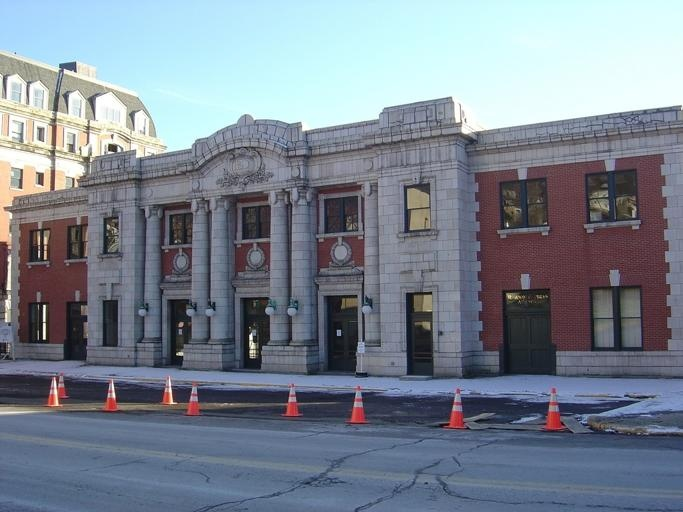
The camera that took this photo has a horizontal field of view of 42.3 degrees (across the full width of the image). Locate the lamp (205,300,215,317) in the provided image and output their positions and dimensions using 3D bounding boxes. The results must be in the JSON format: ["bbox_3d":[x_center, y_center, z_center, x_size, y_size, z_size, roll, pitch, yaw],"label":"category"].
[{"bbox_3d":[-5.906,2.392,39.879,0.458,0.774,1.032,-1,-6,-9],"label":"lamp"}]

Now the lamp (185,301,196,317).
[{"bbox_3d":[-6.915,2.417,40.795,0.460,0.795,1.702,-1,-6,-11],"label":"lamp"}]

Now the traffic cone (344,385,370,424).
[{"bbox_3d":[0.540,3.994,23.671,0.986,0.913,0.894,-3,-3,8],"label":"traffic cone"}]

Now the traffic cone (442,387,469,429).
[{"bbox_3d":[3.009,3.933,22.748,0.943,0.926,0.875,2,-3,-4],"label":"traffic cone"}]

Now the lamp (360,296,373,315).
[{"bbox_3d":[1.020,2.013,36.146,0.457,0.753,0.800,1,-7,-23],"label":"lamp"}]

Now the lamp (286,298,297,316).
[{"bbox_3d":[-2.059,2.170,37.475,0.443,0.771,1.094,-2,-6,-4],"label":"lamp"}]

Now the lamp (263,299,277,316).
[{"bbox_3d":[-3.054,2.205,37.987,0.481,0.761,0.719,-4,-7,12],"label":"lamp"}]
